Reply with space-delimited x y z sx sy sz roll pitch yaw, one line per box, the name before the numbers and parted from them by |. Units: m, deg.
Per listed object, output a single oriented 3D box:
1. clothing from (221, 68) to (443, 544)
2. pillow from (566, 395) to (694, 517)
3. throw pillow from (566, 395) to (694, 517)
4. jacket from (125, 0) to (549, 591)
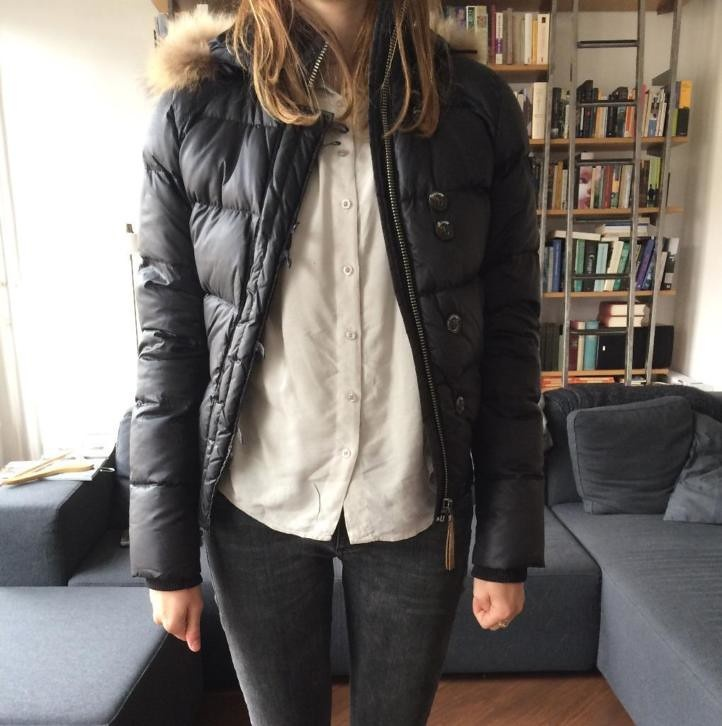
clothing | -0.054 -0.041 1.185 0.348 0.647 0.167 0 14 6
pillow | 1.033 0.372 2.832 0.387 0.427 0.152 0 -7 0
throw pillow | 1.030 0.360 2.761 0.387 0.427 0.152 0 -7 0
jacket | -0.049 -0.099 1.284 0.680 1.056 0.392 -2 -7 1
